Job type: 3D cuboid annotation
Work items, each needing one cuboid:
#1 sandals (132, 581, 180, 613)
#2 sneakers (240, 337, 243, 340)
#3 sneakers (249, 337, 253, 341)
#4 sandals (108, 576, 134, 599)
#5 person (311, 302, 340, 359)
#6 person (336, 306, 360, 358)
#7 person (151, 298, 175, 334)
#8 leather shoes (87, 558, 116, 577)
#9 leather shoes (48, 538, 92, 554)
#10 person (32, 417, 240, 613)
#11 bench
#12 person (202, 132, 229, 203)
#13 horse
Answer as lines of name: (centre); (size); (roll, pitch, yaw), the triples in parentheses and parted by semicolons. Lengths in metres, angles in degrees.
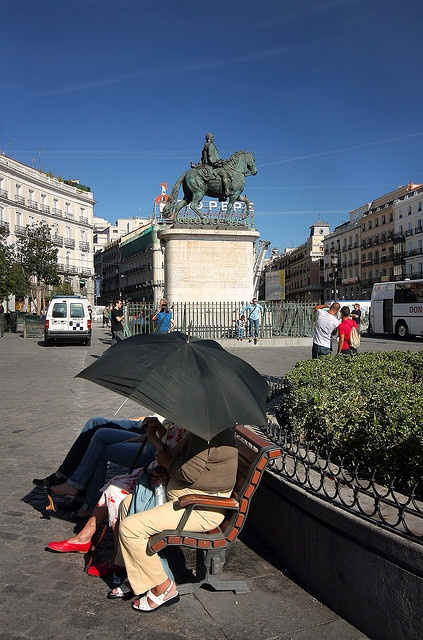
sandals: (-0.271, 1.375, 2.499); (0.198, 0.107, 0.113); (-3, 0, -12)
sneakers: (1.214, 0.685, 19.587); (0.098, 0.089, 0.108); (-2, 4, -37)
sneakers: (1.582, 0.712, 19.493); (0.072, 0.161, 0.207); (2, -9, -12)
sandals: (-0.449, 1.392, 2.591); (0.060, 0.068, 0.177); (-5, -18, 25)
person: (2.089, 0.182, 9.076); (0.460, 1.023, 1.107); (0, 1, 14)
person: (2.624, 0.181, 9.582); (0.387, 0.924, 1.466); (0, 1, 17)
person: (-1.353, -0.144, 14.371); (0.774, 1.243, 0.648); (8, 38, 5)
leather shoes: (-0.604, 1.410, 2.837); (0.174, 0.077, 0.071); (6, -6, -13)
leather shoes: (-0.852, 1.389, 3.095); (0.268, 0.096, 0.102); (10, -16, -6)
person: (-0.347, 0.968, 2.758); (0.739, 0.798, 0.851); (7, -5, -16)
bench: (-0.107, 0.925, 2.851); (0.678, 0.892, 0.932); (5, 15, -12)
person: (0.191, -6.073, 19.184); (1.069, 2.187, 1.193); (-1, 1, -2)
horse: (0.087, -5.306, 19.683); (3.712, 3.253, 1.151); (1, -6, -8)
